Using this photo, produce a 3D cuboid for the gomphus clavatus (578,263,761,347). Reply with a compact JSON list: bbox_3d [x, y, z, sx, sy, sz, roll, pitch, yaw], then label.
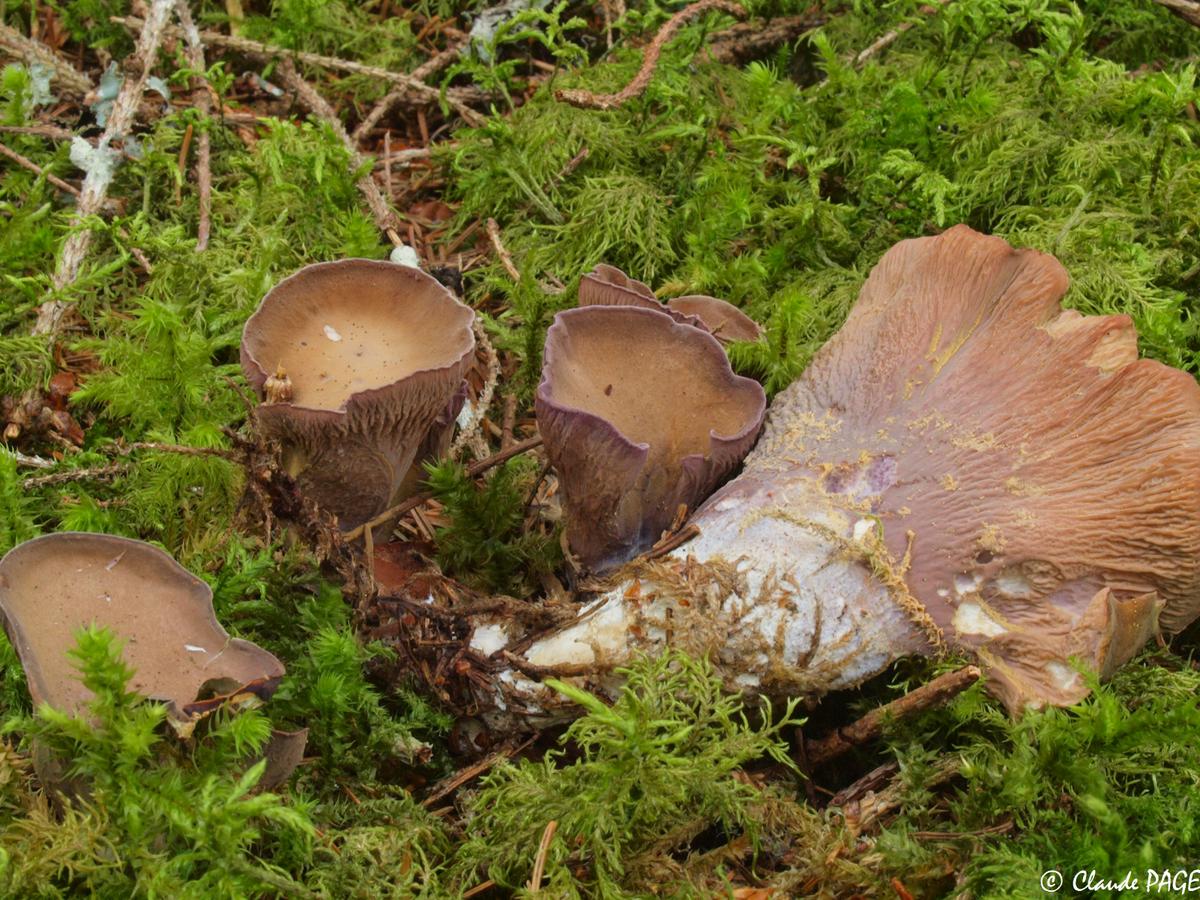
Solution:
[{"bbox_3d":[0.294,-0.550,5.025,0.462,0.408,0.153,35,112,17],"label":"gomphus clavatus"}]
